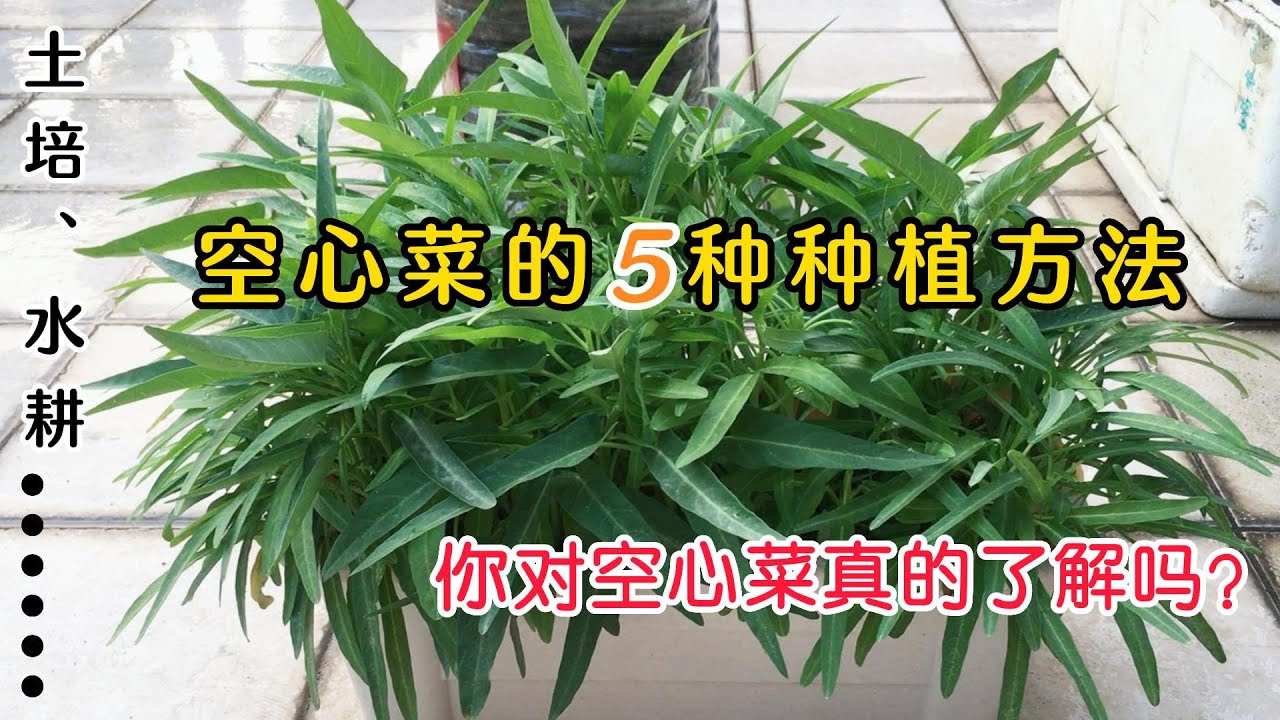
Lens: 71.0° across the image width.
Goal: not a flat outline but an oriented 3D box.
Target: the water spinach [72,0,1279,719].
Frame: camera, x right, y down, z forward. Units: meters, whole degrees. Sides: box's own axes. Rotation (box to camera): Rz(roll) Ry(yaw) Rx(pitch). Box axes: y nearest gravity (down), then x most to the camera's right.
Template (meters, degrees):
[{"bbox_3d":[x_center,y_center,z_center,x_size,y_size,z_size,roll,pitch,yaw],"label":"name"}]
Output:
[{"bbox_3d":[0.017,-0.022,1.458,1.467,1.077,0.661,2,-32,-6],"label":"water spinach"}]
